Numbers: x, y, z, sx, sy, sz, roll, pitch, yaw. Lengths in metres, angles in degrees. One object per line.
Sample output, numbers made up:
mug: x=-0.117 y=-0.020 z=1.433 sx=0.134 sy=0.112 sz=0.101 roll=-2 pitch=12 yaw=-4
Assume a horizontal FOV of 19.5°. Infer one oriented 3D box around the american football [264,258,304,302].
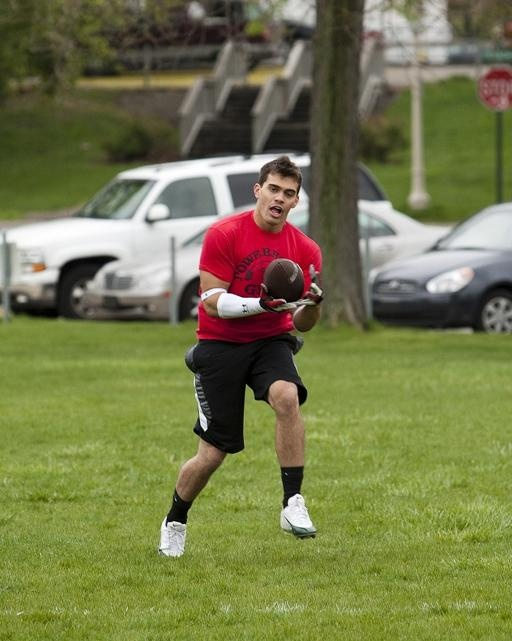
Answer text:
american football: x=0.114 y=-0.210 z=7.022 sx=0.175 sy=0.197 sz=0.274 roll=-2 pitch=12 yaw=-2
